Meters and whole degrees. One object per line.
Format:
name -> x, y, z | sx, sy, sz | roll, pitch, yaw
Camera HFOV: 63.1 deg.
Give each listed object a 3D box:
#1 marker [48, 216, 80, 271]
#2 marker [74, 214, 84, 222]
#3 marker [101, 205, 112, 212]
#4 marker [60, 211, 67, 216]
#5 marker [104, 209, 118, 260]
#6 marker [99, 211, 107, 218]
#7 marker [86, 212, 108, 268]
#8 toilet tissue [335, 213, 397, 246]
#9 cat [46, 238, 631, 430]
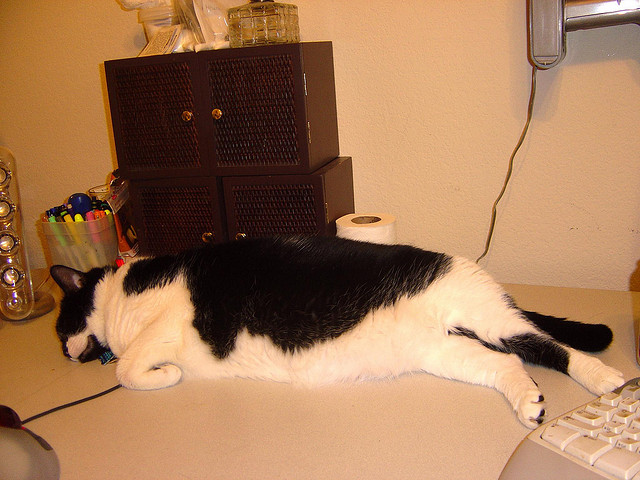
marker -> -0.731, 0.002, 1.488 | 0.020, 0.170, 0.020 | -21, 17, 15
marker -> -0.701, -0.065, 1.501 | 0.016, 0.007, 0.029 | -10, 31, -5
marker -> -0.633, -0.093, 1.537 | 0.041, 0.017, 0.014 | 8, 22, 32
marker -> -0.749, -0.077, 1.517 | 0.012, 0.005, 0.012 | 12, 25, 40
marker -> -0.619, -0.012, 1.541 | 0.021, 0.140, 0.025 | 1, 6, 43
marker -> -0.631, -0.075, 1.508 | 0.014, 0.016, 0.014 | -3, 10, -12
marker -> -0.646, -0.008, 1.500 | 0.029, 0.166, 0.023 | -14, 23, -2
toilet tissue -> 0.110, -0.043, 1.362 | 0.133, 0.090, 0.161 | 13, 20, 35
cat -> -0.026, 0.152, 1.165 | 1.089, 0.285, 0.447 | -3, 11, 7
